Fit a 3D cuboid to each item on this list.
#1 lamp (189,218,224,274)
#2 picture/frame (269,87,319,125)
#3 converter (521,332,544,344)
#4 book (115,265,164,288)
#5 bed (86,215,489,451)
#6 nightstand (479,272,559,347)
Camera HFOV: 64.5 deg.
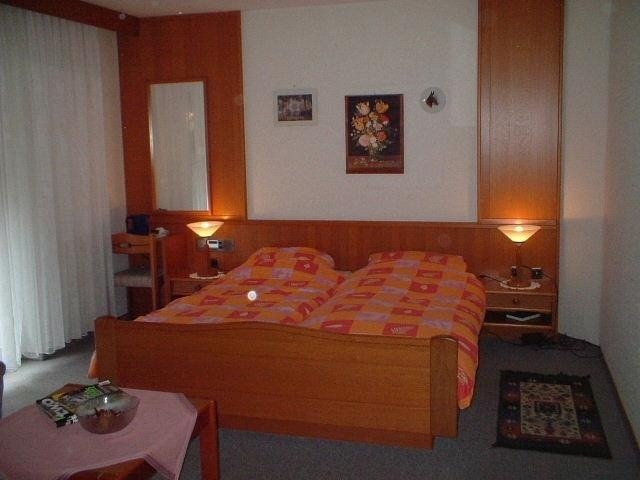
[{"bbox_3d":[-1.135,0.055,5.146,0.433,0.659,0.430,-3,16,-19],"label":"lamp"},{"bbox_3d":[-0.230,-1.313,4.965,0.374,0.279,0.017,2,5,16],"label":"picture/frame"},{"bbox_3d":[1.851,0.857,4.406,0.169,0.094,0.056,-5,-6,12],"label":"converter"},{"bbox_3d":[-1.792,0.381,5.061,0.292,0.073,0.309,2,7,8],"label":"book"},{"bbox_3d":[-0.338,0.489,4.087,2.978,0.909,2.498,3,13,19],"label":"bed"},{"bbox_3d":[1.794,0.633,4.570,0.640,0.476,0.411,0,13,24],"label":"nightstand"}]
